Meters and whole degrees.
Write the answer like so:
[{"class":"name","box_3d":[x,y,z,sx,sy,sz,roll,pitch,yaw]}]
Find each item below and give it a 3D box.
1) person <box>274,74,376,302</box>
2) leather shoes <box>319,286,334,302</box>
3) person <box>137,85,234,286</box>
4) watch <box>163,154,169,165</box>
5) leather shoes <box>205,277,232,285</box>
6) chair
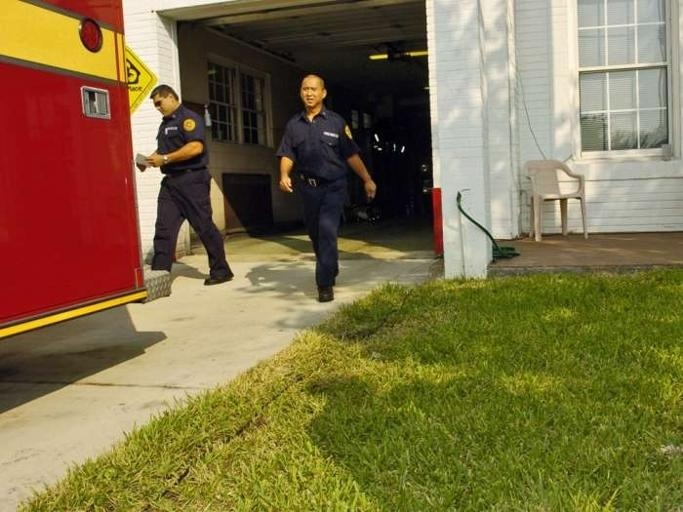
[{"class":"person","box_3d":[-0.168,-0.673,5.746,0.918,2.138,0.838,-1,11,9]},{"class":"leather shoes","box_3d":[-0.158,0.347,5.604,0.149,0.125,0.223,-3,12,-1]},{"class":"person","box_3d":[-1.750,-0.735,6.392,0.723,2.279,1.121,-2,11,7]},{"class":"watch","box_3d":[-1.799,-0.989,5.975,0.070,0.091,0.100,2,-2,-9]},{"class":"leather shoes","box_3d":[-1.440,0.283,6.839,0.304,0.124,0.107,2,-6,-40]},{"class":"chair","box_3d":[2.918,-0.785,8.033,0.861,1.022,0.889,2,10,31]}]
